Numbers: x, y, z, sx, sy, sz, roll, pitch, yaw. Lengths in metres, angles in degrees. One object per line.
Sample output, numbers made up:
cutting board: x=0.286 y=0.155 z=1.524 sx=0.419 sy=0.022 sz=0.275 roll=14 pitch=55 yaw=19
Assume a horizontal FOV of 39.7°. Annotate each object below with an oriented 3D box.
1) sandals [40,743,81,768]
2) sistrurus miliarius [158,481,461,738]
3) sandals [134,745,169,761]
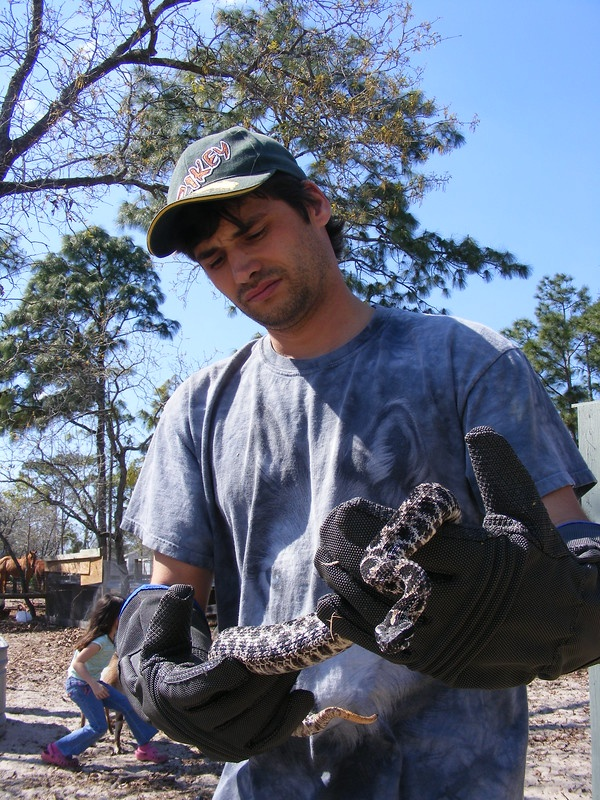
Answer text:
sandals: x=-2.550 y=3.770 z=8.801 sx=0.458 sy=0.203 sz=0.308 roll=5 pitch=-11 yaw=-1
sistrurus miliarius: x=0.051 y=0.499 z=1.895 sx=0.780 sy=0.260 sz=0.476 roll=-26 pitch=-14 yaw=20
sandals: x=-1.613 y=3.839 z=9.000 sx=0.352 sy=0.130 sz=0.172 roll=3 pitch=-9 yaw=5
